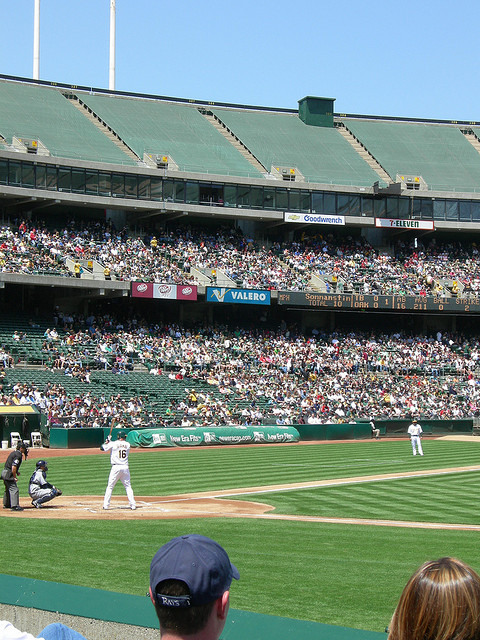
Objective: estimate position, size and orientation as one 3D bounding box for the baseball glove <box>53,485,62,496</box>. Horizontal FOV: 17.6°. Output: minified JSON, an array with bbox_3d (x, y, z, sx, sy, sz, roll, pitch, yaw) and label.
[{"bbox_3d":[-3.669,3.408,31.044,0.151,0.168,0.435,0,-5,-4],"label":"baseball glove"}]

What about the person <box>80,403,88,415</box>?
[{"bbox_3d":[-4.712,2.637,46.688,0.214,0.346,0.857,0,-5,-5],"label":"person"}]

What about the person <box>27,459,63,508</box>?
[{"bbox_3d":[-4.148,3.466,32.837,0.626,1.098,0.812,1,2,-35],"label":"person"}]

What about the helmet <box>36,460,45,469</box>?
[{"bbox_3d":[-4.010,2.882,31.125,0.150,0.151,0.468,1,-5,-7],"label":"helmet"}]

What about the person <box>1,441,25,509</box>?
[{"bbox_3d":[-4.550,3.093,30.975,0.452,1.277,1.098,1,-5,-9],"label":"person"}]
